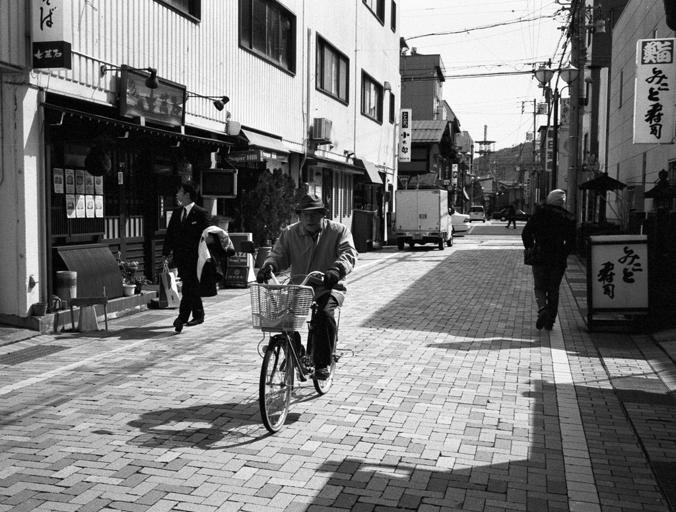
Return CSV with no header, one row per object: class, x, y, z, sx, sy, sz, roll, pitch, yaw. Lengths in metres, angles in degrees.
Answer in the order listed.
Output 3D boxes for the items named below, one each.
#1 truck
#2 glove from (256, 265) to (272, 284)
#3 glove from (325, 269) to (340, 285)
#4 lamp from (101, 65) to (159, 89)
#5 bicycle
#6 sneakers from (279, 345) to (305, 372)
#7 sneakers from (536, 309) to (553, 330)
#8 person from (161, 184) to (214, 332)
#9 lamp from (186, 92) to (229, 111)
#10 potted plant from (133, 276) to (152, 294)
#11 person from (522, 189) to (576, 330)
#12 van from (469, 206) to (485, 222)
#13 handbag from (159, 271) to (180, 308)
truck,3.689,-1.741,31.992,1.482,1.745,2.842,0,8,16
glove,-0.761,0.193,8.027,0.127,0.186,0.165,4,46,-10
glove,-0.051,0.220,8.095,0.117,0.157,0.150,0,-7,11
lamp,-3.454,-3.097,13.290,1.056,0.587,0.295,-3,15,-7
bicycle,-0.452,0.946,8.104,0.797,1.518,1.460,1,6,2
sneakers,-0.473,1.080,8.089,0.131,0.197,0.294,-5,-15,15
sneakers,3.265,1.029,12.200,0.156,0.504,0.201,4,21,8
person,-2.333,0.017,12.142,0.645,2.318,0.702,-2,6,-28
lamp,-2.561,-3.224,15.924,0.578,0.262,0.370,13,10,5
potted plant,-3.607,0.551,14.285,0.195,0.120,0.310,5,25,-7
person,3.395,0.060,12.534,0.788,2.246,1.184,2,6,18
van,14.437,-4.370,80.119,1.867,1.986,3.708,0,12,14
handbag,-2.985,0.618,13.717,0.357,0.771,0.610,-3,2,5
